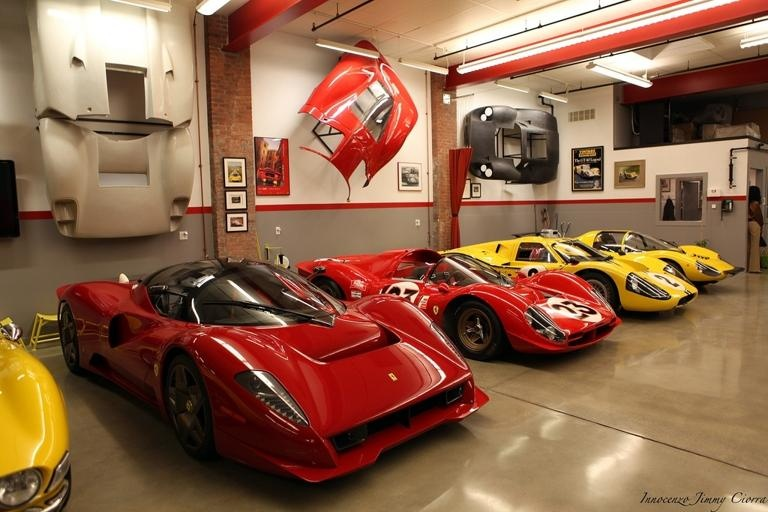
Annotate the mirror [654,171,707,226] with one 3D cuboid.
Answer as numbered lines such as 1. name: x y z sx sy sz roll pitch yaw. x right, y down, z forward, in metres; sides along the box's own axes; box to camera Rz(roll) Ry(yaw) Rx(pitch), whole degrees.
1. mirror: 7.683 -1.474 12.017 1.363 1.285 0.117 -1 1 -5

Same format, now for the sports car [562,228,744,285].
1. sports car: 4.835 -0.039 8.249 2.326 0.586 1.353 12 13 30

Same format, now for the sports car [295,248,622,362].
1. sports car: 0.773 0.432 5.336 2.727 0.686 1.601 8 11 35

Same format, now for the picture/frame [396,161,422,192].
1. picture/frame: 0.519 -1.754 10.101 0.753 0.604 0.048 2 -4 -44

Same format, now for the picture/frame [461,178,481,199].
1. picture/frame: 2.095 -1.651 11.249 0.663 0.433 0.048 -2 3 -45

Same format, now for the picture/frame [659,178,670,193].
1. picture/frame: 7.232 -1.860 11.927 0.358 0.459 0.048 4 4 4

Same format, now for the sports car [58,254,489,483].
1. sports car: -1.272 0.484 3.724 2.925 0.812 1.540 8 11 41

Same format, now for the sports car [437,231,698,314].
1. sports car: 2.868 0.183 7.622 2.109 0.885 3.742 -19 11 -40

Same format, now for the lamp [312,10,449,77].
1. lamp: -0.048 -3.880 8.540 1.408 0.824 3.175 11 18 38
